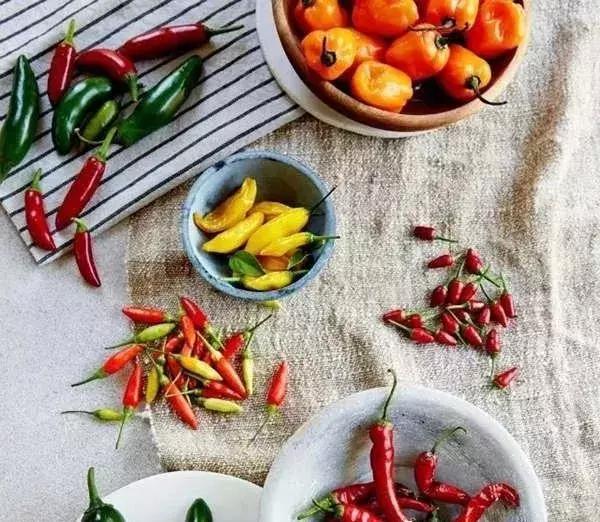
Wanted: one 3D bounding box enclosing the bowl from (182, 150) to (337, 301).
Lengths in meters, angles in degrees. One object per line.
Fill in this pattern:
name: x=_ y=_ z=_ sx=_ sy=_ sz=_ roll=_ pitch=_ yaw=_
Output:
bowl: x=-0.106 y=-0.082 z=1.862 sx=0.391 sy=0.249 sz=0.383 roll=0 pitch=83 yaw=0
